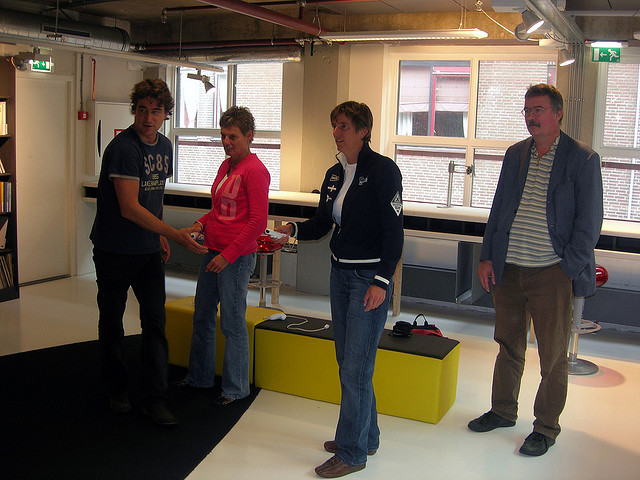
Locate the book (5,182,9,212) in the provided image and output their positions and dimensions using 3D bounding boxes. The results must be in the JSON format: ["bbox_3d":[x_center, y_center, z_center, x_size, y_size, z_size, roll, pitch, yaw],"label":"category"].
[{"bbox_3d":[-3.922,-0.535,6.227,0.054,0.358,0.022,-3,9,-35],"label":"book"}]

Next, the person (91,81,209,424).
[{"bbox_3d":[-1.228,0.078,3.426,0.619,2.305,0.570,-2,9,-26],"label":"person"}]

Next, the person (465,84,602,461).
[{"bbox_3d":[1.428,0.183,3.326,0.723,2.386,0.489,6,9,29],"label":"person"}]

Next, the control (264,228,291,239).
[{"bbox_3d":[-0.293,-0.047,3.330,0.115,0.055,0.209,0,9,-15],"label":"control"}]

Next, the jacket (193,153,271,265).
[{"bbox_3d":[-0.630,-0.249,3.673,0.570,0.788,0.382,8,10,38],"label":"jacket"}]

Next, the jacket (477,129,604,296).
[{"bbox_3d":[1.483,-0.185,3.331,0.711,1.059,0.287,6,9,28],"label":"jacket"}]

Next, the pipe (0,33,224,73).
[{"bbox_3d":[-2.539,-2.326,6.272,1.138,0.249,2.531,10,12,41],"label":"pipe"}]

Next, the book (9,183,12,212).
[{"bbox_3d":[-3.892,-0.534,6.254,0.040,0.352,0.023,-3,9,-31],"label":"book"}]

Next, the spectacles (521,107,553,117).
[{"bbox_3d":[1.395,-0.832,3.229,0.055,0.060,0.164,-5,11,-41],"label":"spectacles"}]

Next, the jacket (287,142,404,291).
[{"bbox_3d":[0.209,-0.173,2.956,0.280,0.808,0.675,-4,10,-40],"label":"jacket"}]

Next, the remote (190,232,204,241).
[{"bbox_3d":[-0.977,-0.035,3.954,0.084,0.043,0.108,15,-6,-38],"label":"remote"}]

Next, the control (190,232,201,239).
[{"bbox_3d":[-0.945,-0.036,3.738,0.046,0.025,0.066,1,11,8],"label":"control"}]
